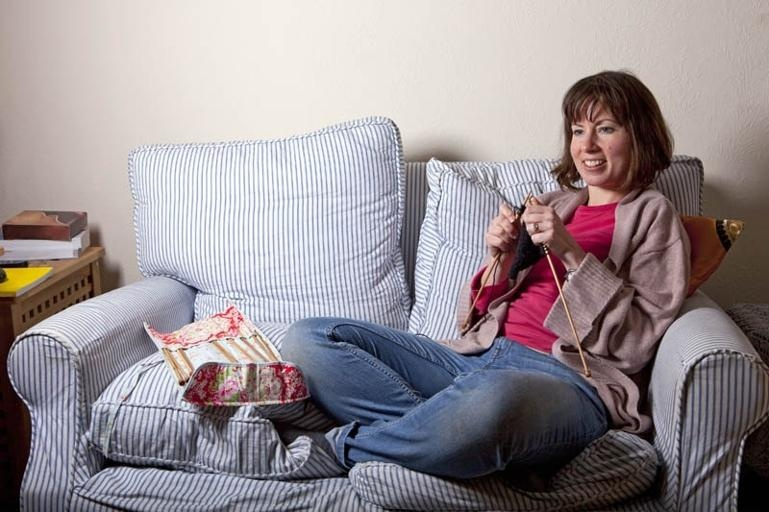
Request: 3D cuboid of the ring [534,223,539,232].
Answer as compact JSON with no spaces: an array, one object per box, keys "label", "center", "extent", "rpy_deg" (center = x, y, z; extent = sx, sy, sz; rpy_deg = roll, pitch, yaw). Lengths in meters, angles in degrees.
[{"label":"ring","center":[0.437,-0.084,1.900],"extent":[0.014,0.022,0.019],"rpy_deg":[-3,-6,8]}]
